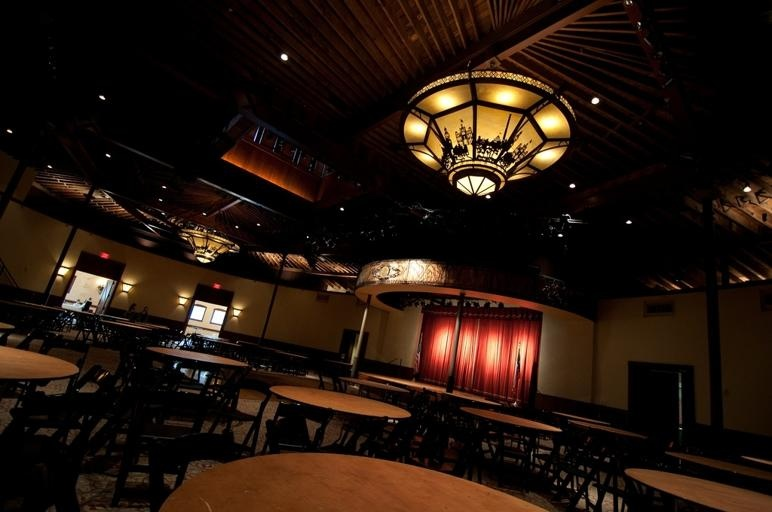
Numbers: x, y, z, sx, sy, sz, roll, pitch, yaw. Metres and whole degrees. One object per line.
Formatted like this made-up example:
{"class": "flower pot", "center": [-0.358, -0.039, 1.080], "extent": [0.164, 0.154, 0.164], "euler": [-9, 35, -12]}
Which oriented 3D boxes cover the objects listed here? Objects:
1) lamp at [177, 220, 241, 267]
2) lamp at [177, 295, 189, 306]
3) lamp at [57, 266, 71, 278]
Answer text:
{"class": "lamp", "center": [-5.867, -0.443, 15.688], "extent": [1.581, 0.761, 1.575], "euler": [22, -12, -11]}
{"class": "lamp", "center": [-8.288, 1.788, 19.483], "extent": [0.417, 0.403, 0.110], "euler": [9, -5, -38]}
{"class": "lamp", "center": [-11.365, 0.498, 16.862], "extent": [0.090, 0.309, 0.336], "euler": [7, -9, 35]}
